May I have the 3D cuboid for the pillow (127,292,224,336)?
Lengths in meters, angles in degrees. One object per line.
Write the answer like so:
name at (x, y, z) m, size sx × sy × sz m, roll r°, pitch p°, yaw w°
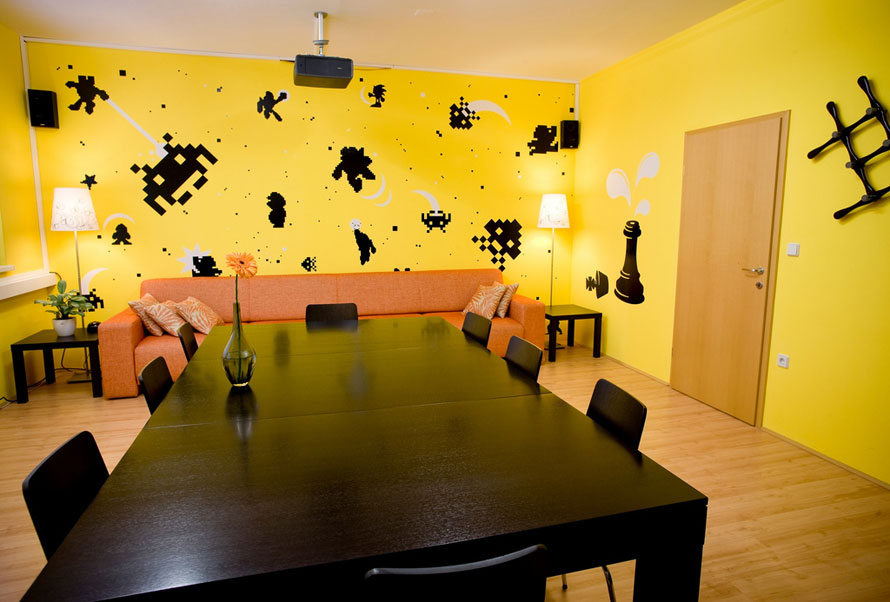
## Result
pillow at (-2.494, 0.023, 5.627) m, size 0.549 × 0.184 × 0.599 m, roll 11°, pitch 14°, yaw -38°

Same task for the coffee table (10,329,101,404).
coffee table at (-3.527, 0.490, 5.504) m, size 0.668 × 0.531 × 0.702 m, roll -3°, pitch 7°, yaw -23°

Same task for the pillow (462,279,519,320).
pillow at (0.498, -0.051, 6.382) m, size 0.433 × 0.413 × 0.132 m, roll 4°, pitch -29°, yaw 41°

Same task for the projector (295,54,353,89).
projector at (-1.001, -1.888, 4.919) m, size 0.447 × 0.214 × 0.277 m, roll -2°, pitch 7°, yaw -14°

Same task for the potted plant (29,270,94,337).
potted plant at (-3.512, 0.061, 5.577) m, size 0.466 × 0.512 × 0.462 m, roll -17°, pitch 0°, yaw 25°
